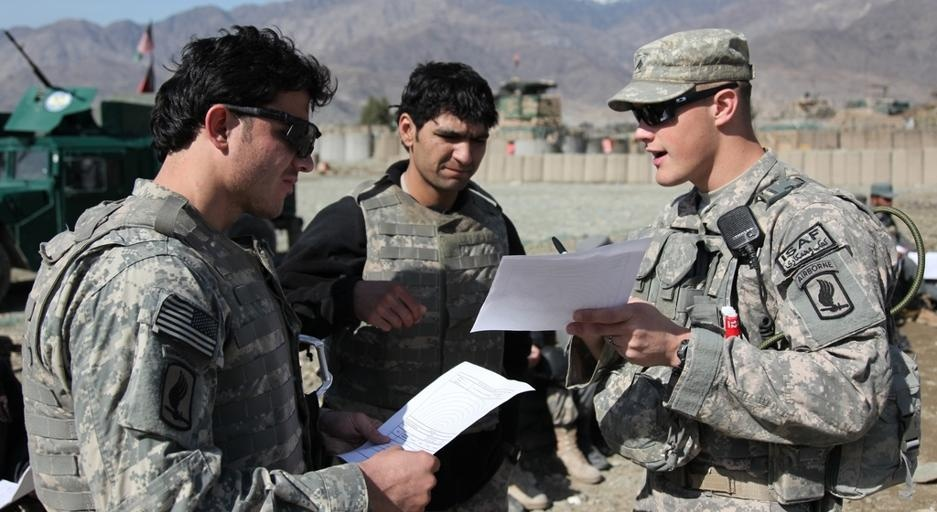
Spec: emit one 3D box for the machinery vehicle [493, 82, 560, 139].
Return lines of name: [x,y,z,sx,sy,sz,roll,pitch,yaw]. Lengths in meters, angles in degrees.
machinery vehicle: [2.256,-5.277,47.711,2.732,2.171,2.792,2,-2,28]

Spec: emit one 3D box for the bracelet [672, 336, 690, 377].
bracelet: [1.361,0.632,8.122,0.071,0.192,0.132,9,0,-20]

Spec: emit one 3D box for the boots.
boots: [0.650,1.843,10.759,0.726,0.482,0.600,-9,12,-39]

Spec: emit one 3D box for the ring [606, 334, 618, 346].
ring: [0.929,0.532,8.204,0.062,0.036,0.046,4,0,-16]
